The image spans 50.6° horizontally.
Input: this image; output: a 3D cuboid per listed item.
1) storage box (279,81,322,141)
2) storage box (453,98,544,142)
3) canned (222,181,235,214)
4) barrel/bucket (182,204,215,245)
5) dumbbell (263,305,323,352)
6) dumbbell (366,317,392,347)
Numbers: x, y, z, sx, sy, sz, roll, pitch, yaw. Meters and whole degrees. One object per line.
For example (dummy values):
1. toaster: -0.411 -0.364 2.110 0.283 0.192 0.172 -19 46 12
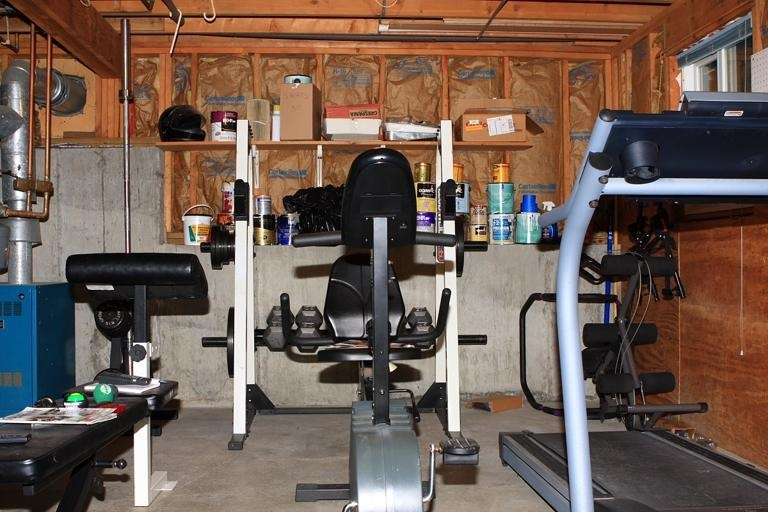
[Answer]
1. storage box: -0.853 -1.167 6.603 0.514 0.515 0.489 -5 12 -27
2. storage box: 0.934 -1.047 6.809 0.849 0.384 0.615 0 0 -2
3. canned: -1.332 -0.495 6.921 0.076 0.287 0.183 -1 2 -6
4. barrel/bucket: -1.541 -0.248 6.717 0.328 0.411 0.283 4 4 -2
5. dumbbell: -0.674 0.513 5.967 0.449 0.376 0.409 3 4 -4
6. dumbbell: -0.051 0.483 5.268 0.184 0.245 0.097 3 -6 -6
